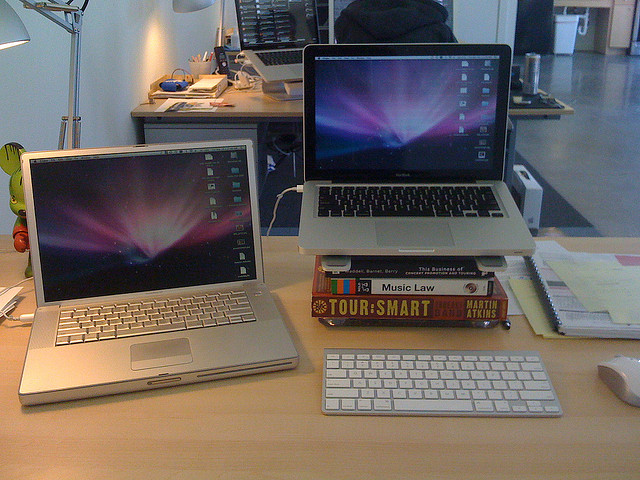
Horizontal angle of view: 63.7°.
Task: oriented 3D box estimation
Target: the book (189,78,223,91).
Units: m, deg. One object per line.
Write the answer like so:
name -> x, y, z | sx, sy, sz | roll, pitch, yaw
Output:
book -> -0.641, -0.885, 2.914 | 0.115, 0.025, 0.164 | 0, 28, 5

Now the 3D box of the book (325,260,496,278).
book -> 0.178, 0.057, 1.025 | 0.330, 0.040, 0.015 | -1, 25, 1

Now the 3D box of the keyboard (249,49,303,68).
keyboard -> -0.231, -1.013, 2.870 | 0.287, 0.083, 0.260 | -6, 22, -11

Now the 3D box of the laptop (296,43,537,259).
laptop -> 0.187, -0.193, 1.070 | 0.463, 0.408, 0.312 | -1, 24, 2

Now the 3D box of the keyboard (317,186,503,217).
keyboard -> 0.190, -0.086, 1.123 | 0.388, 0.049, 0.109 | -1, 22, 1

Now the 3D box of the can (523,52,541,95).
can -> 1.265, -0.988, 3.065 | 0.102, 0.217, 0.096 | -2, 21, 1

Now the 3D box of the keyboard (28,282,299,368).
keyboard -> -0.303, 0.176, 0.995 | 0.500, 0.085, 0.204 | -3, 22, -4

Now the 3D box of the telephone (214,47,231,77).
telephone -> -0.602, -1.103, 3.185 | 0.059, 0.168, 0.102 | -13, 26, -21

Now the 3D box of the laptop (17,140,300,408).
laptop -> -0.306, 0.053, 0.971 | 0.526, 0.250, 0.419 | -10, 38, -25
